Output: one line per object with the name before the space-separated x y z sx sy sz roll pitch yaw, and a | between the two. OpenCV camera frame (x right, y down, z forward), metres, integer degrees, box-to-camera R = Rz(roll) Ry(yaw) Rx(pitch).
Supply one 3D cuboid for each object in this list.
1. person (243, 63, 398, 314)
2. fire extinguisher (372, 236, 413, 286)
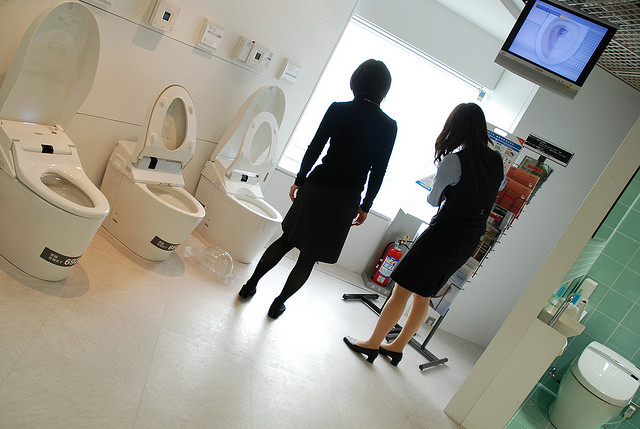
person | 0.032 -0.108 2.881 0.701 2.118 0.272 19 13 -7
fire extinguisher | 0.832 0.540 4.402 0.280 0.677 0.147 24 25 7
